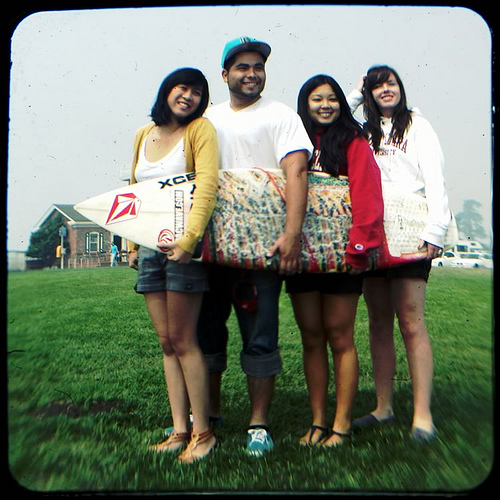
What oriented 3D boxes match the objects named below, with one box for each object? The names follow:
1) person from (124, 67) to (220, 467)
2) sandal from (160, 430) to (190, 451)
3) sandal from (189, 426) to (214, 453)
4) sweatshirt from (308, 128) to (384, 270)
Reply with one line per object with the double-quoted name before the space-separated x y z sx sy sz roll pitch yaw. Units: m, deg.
"person" -0.375 0.059 2.252 0.467 1.888 0.393 1 2 6
"sandal" -0.367 0.931 2.279 0.152 0.062 0.049 -1 3 -25
"sandal" -0.235 0.893 2.178 0.104 0.082 0.060 0 3 -16
"sweatshirt" 0.530 -0.271 2.352 0.229 0.669 0.239 -1 11 -6
